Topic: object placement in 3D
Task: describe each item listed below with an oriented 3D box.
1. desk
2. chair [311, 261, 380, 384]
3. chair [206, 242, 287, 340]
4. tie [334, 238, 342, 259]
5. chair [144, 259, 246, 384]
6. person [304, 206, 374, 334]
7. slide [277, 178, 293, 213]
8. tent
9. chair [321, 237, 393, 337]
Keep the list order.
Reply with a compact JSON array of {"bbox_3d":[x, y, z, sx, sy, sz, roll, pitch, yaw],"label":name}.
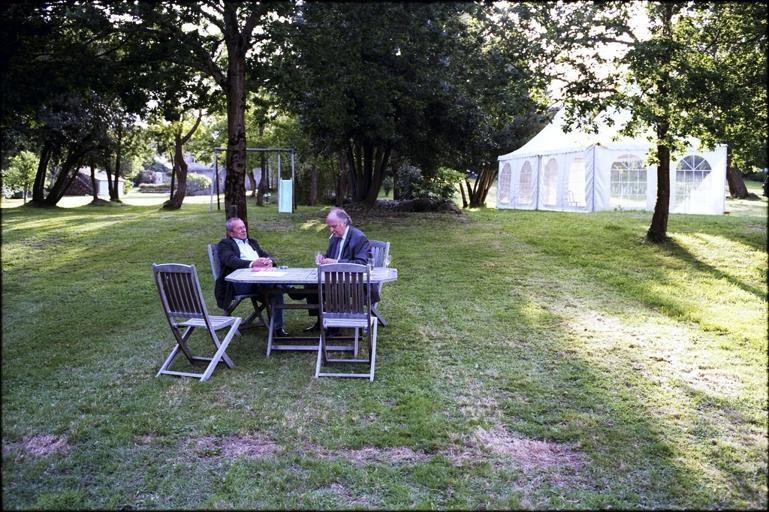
[{"bbox_3d":[-0.859,0.873,8.202,2.285,1.207,1.241,-3,21,13],"label":"desk"},{"bbox_3d":[-0.531,0.859,7.896,0.880,1.659,1.510,2,7,-1],"label":"chair"},{"bbox_3d":[-2.172,0.473,8.977,1.406,1.574,1.195,-10,-1,43],"label":"chair"},{"bbox_3d":[-0.712,-0.118,8.595,0.090,0.352,0.075,5,-23,18],"label":"tie"},{"bbox_3d":[-2.684,0.884,7.723,1.067,1.635,0.814,1,7,-9],"label":"chair"},{"bbox_3d":[-0.704,0.250,8.709,0.890,1.976,1.047,6,8,35],"label":"person"},{"bbox_3d":[-4.129,-2.516,22.603,0.659,1.668,1.744,0,3,-1],"label":"slide"},{"bbox_3d":[8.966,-3.652,22.610,3.531,3.715,9.144,-3,8,-33],"label":"tent"},{"bbox_3d":[-0.521,0.331,8.981,0.844,1.573,1.158,0,8,1],"label":"chair"}]
